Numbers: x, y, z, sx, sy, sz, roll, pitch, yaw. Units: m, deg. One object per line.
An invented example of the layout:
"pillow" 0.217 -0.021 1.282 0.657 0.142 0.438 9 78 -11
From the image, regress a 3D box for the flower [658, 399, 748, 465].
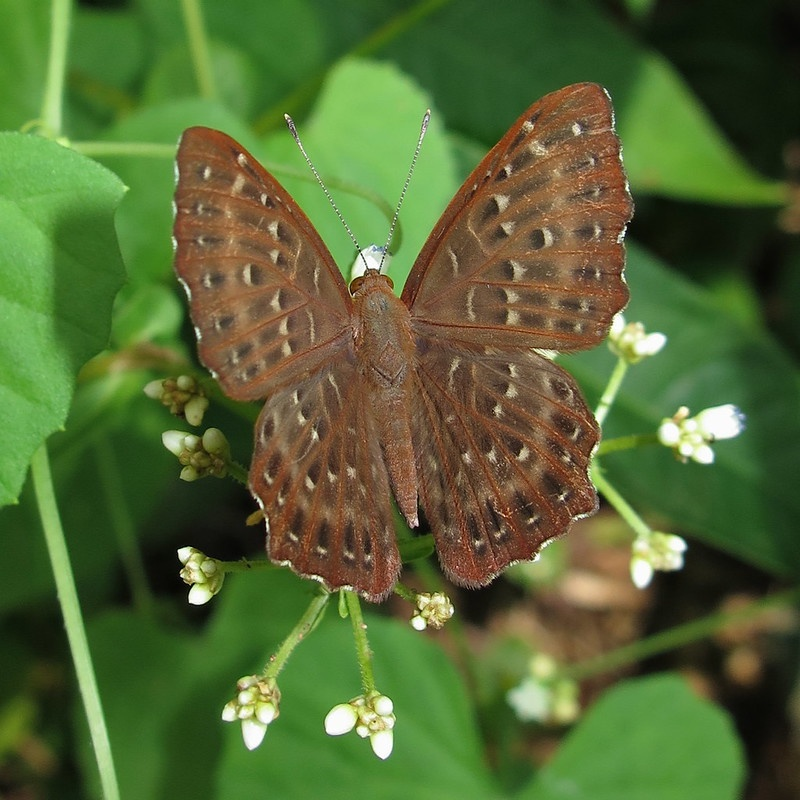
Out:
"flower" 1.011 0.111 3.259 0.203 0.149 0.243 33 67 20

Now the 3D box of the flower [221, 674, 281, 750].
"flower" -0.463 0.959 2.925 0.196 0.080 0.209 6 84 -6

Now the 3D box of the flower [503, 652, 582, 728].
"flower" 0.619 1.200 3.951 0.278 0.080 0.302 23 61 16

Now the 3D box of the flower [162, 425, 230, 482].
"flower" -0.642 0.171 3.110 0.213 0.071 0.179 -28 97 7

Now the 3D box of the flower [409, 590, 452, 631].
"flower" 0.104 0.649 2.996 0.153 0.048 0.106 4 92 3
